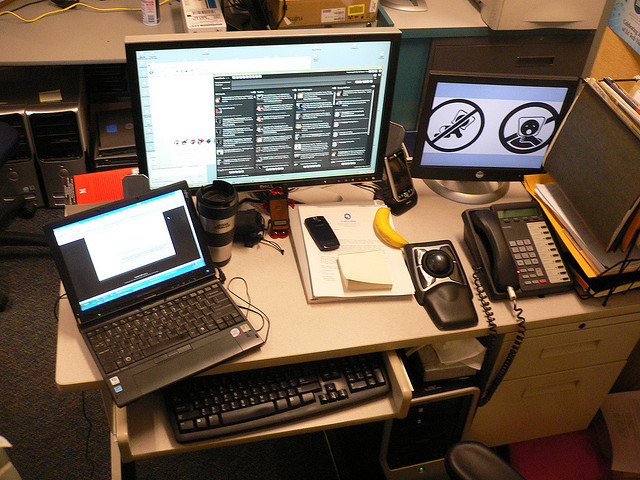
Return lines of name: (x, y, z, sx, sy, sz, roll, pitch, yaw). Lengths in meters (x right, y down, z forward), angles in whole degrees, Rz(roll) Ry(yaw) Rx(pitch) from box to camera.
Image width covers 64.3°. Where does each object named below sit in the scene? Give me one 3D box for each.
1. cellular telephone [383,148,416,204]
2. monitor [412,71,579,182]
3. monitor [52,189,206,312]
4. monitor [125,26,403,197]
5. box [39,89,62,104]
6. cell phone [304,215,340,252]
cellular telephone: (0.279, -0.221, 1.791, 0.122, 0.165, 0.184, 8, 37, 5)
monitor: (0.569, -0.384, 1.694, 0.589, 0.351, 0.217, 3, 36, 1)
monitor: (-0.536, 0.008, 1.400, 0.512, 0.284, 0.038, -19, 15, -22)
monitor: (-0.150, -0.401, 1.541, 1.051, 0.527, 0.148, -8, 41, -15)
box: (-1.378, -0.732, 2.617, 0.106, 0.028, 0.086, -14, 48, -16)
cell phone: (0.010, -0.022, 1.614, 0.071, 0.040, 0.131, -24, 67, -15)
